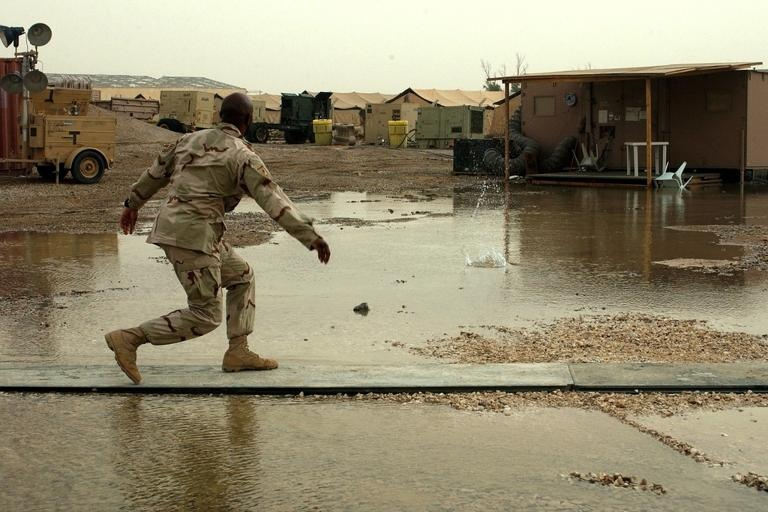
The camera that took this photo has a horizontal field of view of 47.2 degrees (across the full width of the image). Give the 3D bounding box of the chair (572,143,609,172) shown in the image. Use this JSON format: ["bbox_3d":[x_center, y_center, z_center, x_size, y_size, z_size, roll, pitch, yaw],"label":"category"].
[{"bbox_3d":[6.011,-2.917,25.919,1.038,0.855,0.886,-1,9,6],"label":"chair"}]

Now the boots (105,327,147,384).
[{"bbox_3d":[-1.879,0.738,6.527,0.204,0.400,0.215,11,19,44],"label":"boots"}]

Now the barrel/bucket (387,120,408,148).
[{"bbox_3d":[0.828,-7.052,50.472,1.015,1.434,2.164,-2,13,-1],"label":"barrel/bucket"}]

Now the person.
[{"bbox_3d":[-1.302,-0.153,6.637,1.537,2.104,0.950,-3,14,-5],"label":"person"}]

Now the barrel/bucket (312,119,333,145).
[{"bbox_3d":[-3.347,-6.925,49.207,1.571,1.836,1.350,-1,6,-6],"label":"barrel/bucket"}]

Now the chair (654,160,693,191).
[{"bbox_3d":[7.362,-2.014,22.333,0.736,0.412,1.106,13,33,41],"label":"chair"}]

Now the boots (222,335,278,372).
[{"bbox_3d":[-1.040,0.769,6.897,0.166,0.270,0.516,0,-5,44],"label":"boots"}]
